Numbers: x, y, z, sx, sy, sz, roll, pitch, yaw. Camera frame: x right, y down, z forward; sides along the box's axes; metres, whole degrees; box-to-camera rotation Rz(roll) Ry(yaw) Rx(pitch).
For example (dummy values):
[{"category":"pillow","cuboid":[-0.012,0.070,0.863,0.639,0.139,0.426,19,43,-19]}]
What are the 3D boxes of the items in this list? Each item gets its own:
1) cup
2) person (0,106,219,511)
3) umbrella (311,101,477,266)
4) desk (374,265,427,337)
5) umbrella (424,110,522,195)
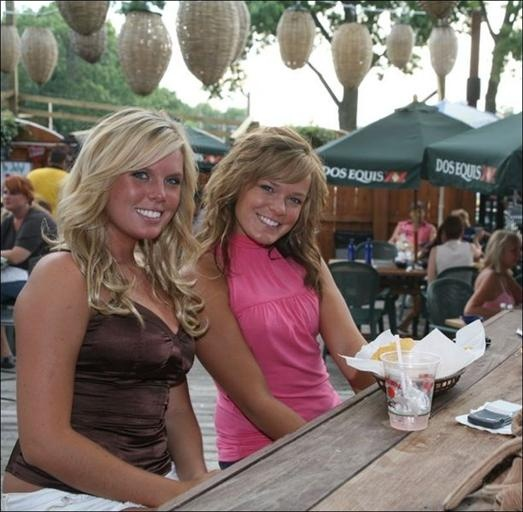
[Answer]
[{"category":"cup","cuboid":[0.347,0.308,1.574,0.135,0.183,0.148,-1,-1,0]},{"category":"person","cuboid":[-0.386,0.118,1.708,0.481,0.995,0.669,-1,10,-4]},{"category":"umbrella","cuboid":[0.506,-0.321,2.825,0.557,0.466,0.553,2,16,15]},{"category":"desk","cuboid":[0.661,0.191,3.371,0.341,0.382,0.363,0,20,7]},{"category":"umbrella","cuboid":[0.890,-0.401,2.710,0.318,0.231,0.341,3,16,23]}]
